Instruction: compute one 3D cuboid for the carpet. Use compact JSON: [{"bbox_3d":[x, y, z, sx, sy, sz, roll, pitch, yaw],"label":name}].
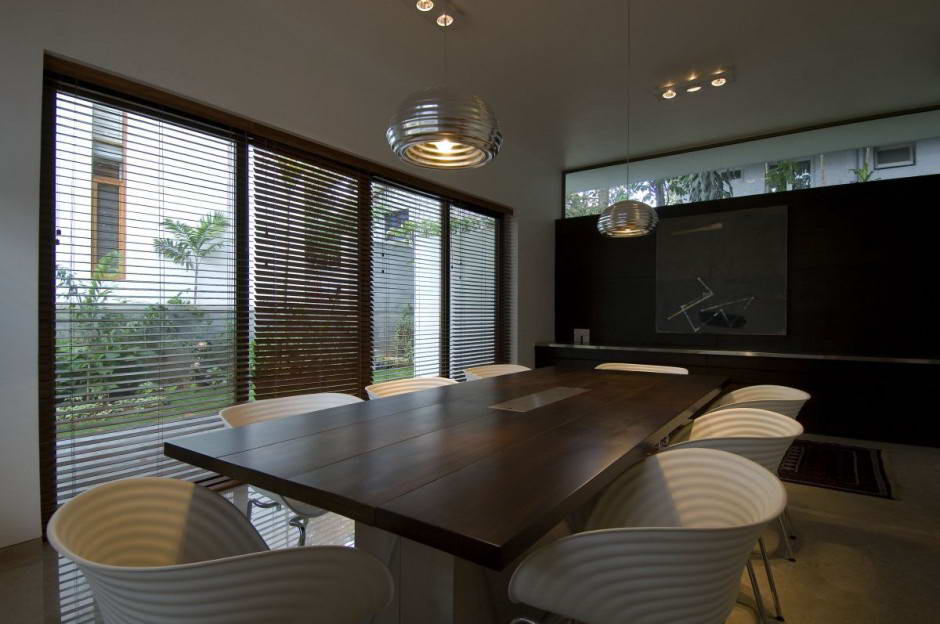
[{"bbox_3d":[3.107,1.301,5.265,0.773,0.017,1.083,2,10,33],"label":"carpet"}]
